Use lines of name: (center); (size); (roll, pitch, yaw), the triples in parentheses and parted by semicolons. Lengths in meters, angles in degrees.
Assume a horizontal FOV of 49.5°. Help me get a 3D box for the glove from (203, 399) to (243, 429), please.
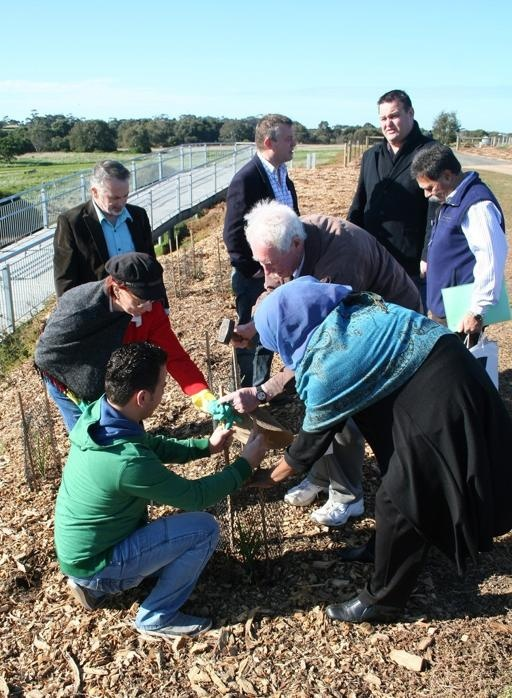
glove: (-0.150, 0.311, 2.680); (0.129, 0.152, 0.073); (20, 65, 25)

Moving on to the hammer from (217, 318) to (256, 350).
hammer: (-0.095, -0.078, 3.184); (0.190, 0.165, 0.054); (3, -10, -29)

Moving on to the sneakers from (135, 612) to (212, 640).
sneakers: (-0.363, 1.223, 2.507); (0.348, 0.121, 0.120); (1, 0, -6)

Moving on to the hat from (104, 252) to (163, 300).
hat: (-0.563, -0.359, 2.553); (0.266, 0.111, 0.195); (36, 46, 17)

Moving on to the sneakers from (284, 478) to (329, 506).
sneakers: (0.341, 0.858, 3.335); (0.314, 0.127, 0.115); (-1, 13, -16)
